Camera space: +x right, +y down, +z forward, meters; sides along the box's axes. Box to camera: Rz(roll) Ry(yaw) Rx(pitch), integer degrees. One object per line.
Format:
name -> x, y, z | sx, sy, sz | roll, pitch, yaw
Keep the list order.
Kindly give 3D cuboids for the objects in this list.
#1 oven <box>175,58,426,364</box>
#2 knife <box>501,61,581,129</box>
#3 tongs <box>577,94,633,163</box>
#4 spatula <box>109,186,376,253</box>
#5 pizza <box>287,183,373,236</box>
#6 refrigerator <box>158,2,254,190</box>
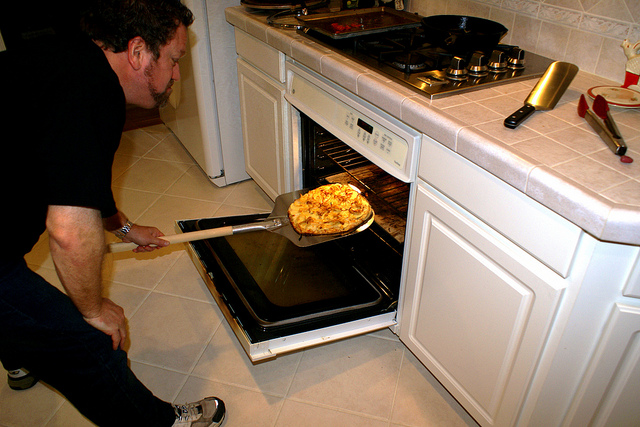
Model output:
oven -> -0.152, -0.057, 2.148 | 0.663, 0.944, 0.981 | -10, 33, -29
knife -> 0.802, -0.434, 1.697 | 0.163, 0.046, 0.573 | 19, 41, 30
tongs -> 0.926, -0.278, 1.543 | 0.083, 0.053, 0.335 | -4, 45, 0
spatula -> -0.227, 0.057, 1.908 | 1.151, 0.058, 0.379 | -6, 33, -23
pizza -> 0.051, -0.035, 2.057 | 0.316, 0.188, 0.400 | 5, 29, 10
refrigerator -> -0.594, -0.641, 2.647 | 0.407, 0.790, 0.581 | -15, 46, -27
